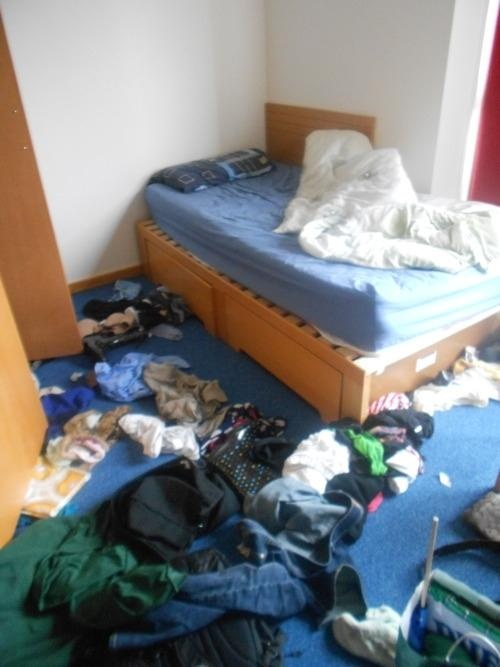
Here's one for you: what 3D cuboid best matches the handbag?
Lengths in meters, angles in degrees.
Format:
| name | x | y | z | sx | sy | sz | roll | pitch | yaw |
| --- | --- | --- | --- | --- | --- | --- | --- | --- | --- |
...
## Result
| name | x | y | z | sx | sy | sz | roll | pitch | yaw |
| --- | --- | --- | --- | --- | --- | --- | --- | --- | --- |
| handbag | 0.012 | 0.426 | 1.901 | 0.228 | 0.068 | 0.227 | -29 | 42 | -29 |

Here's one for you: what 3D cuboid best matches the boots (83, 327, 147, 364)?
| name | x | y | z | sx | sy | sz | roll | pitch | yaw |
| --- | --- | --- | --- | --- | --- | --- | --- | --- | --- |
| boots | -0.692 | 0.036 | 2.706 | 0.148 | 0.073 | 0.227 | 30 | 35 | 23 |

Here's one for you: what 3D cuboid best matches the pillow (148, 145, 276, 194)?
| name | x | y | z | sx | sy | sz | roll | pitch | yaw |
| --- | --- | --- | --- | --- | --- | --- | --- | --- | --- |
| pillow | -0.170 | -1.020 | 3.333 | 0.683 | 0.119 | 0.355 | -21 | 40 | -26 |
